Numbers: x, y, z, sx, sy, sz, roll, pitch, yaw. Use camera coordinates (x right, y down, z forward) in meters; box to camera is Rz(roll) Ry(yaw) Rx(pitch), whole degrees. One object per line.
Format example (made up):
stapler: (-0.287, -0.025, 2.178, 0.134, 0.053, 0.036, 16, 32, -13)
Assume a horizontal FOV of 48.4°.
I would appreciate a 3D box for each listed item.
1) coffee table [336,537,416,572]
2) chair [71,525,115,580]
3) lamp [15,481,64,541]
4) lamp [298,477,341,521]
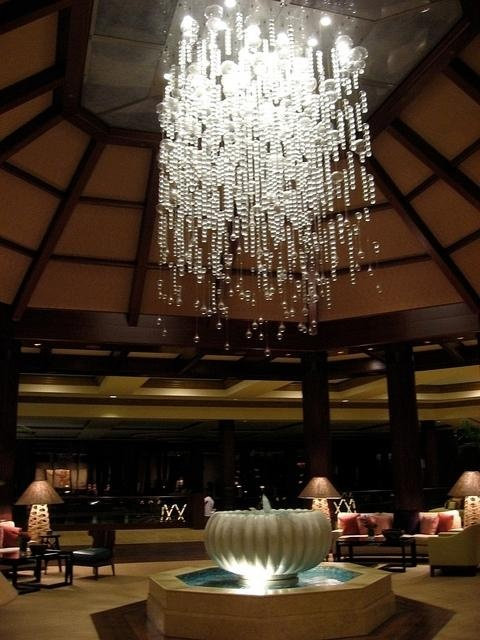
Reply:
coffee table: (2.023, 3.495, 8.050, 1.218, 0.458, 1.059, -6, -16, 14)
chair: (-2.120, 3.397, 7.830, 0.561, 0.750, 0.604, -15, -22, 36)
lamp: (-3.094, 2.959, 8.286, 0.698, 0.901, 0.675, 1, -15, -22)
lamp: (1.295, 2.899, 8.631, 0.589, 0.679, 0.680, -4, -16, 8)
